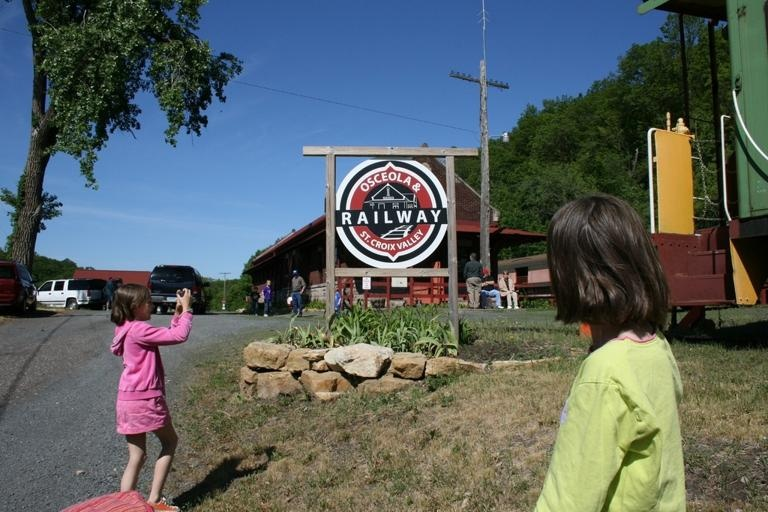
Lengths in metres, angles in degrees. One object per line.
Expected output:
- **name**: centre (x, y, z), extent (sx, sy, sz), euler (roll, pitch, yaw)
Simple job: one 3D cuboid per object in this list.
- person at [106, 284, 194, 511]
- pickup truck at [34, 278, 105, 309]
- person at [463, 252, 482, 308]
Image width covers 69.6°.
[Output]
- **person**: centre (-2.079, 1.199, 4.823), extent (0.697, 1.924, 0.326), euler (2, -7, -14)
- **pickup truck**: centre (-17.239, 2.102, 30.968), extent (4.477, 1.859, 2.567), euler (3, -2, 28)
- **person**: centre (2.936, 0.776, 18.240), extent (0.595, 1.862, 1.124), euler (-1, -7, 9)
